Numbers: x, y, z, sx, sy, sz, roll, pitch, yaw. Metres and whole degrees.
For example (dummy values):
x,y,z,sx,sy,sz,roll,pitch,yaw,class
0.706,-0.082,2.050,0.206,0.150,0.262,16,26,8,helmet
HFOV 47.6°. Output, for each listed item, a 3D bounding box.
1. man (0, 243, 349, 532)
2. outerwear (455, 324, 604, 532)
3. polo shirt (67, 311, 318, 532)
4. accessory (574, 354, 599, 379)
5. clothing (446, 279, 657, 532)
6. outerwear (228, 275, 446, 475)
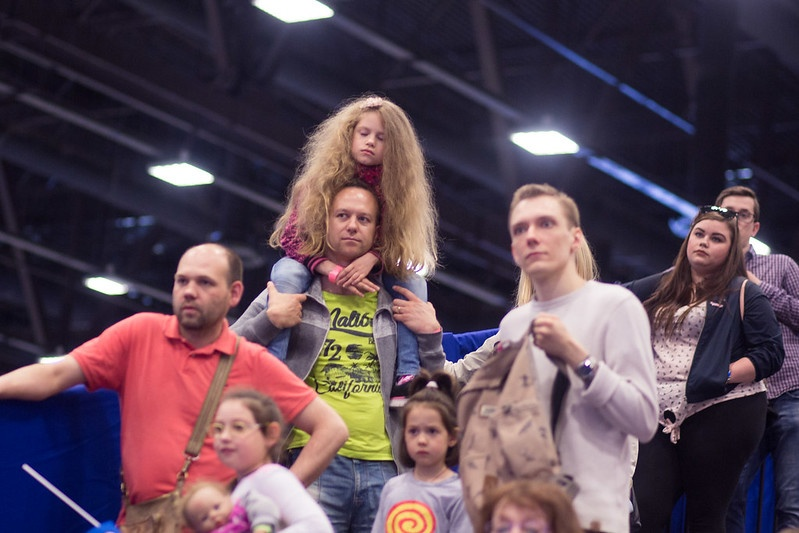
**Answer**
x,y,z,sx,sy,sz,roll,pitch,yaw,class
-1.584,0.757,6.329,1.981,2.636,0.916,-4,-22,11,man
0.806,0.881,5.411,0.832,1.501,1.182,-4,-22,8,outerwear
-1.317,0.929,5.405,1.633,1.308,0.555,8,-4,-1,polo shirt
0.965,0.517,4.705,0.069,0.123,0.080,38,-6,-23,accessory
0.857,0.799,4.896,0.784,1.311,0.998,19,-35,-31,clothing
-0.372,0.559,6.013,1.244,1.199,0.653,11,6,-10,outerwear
